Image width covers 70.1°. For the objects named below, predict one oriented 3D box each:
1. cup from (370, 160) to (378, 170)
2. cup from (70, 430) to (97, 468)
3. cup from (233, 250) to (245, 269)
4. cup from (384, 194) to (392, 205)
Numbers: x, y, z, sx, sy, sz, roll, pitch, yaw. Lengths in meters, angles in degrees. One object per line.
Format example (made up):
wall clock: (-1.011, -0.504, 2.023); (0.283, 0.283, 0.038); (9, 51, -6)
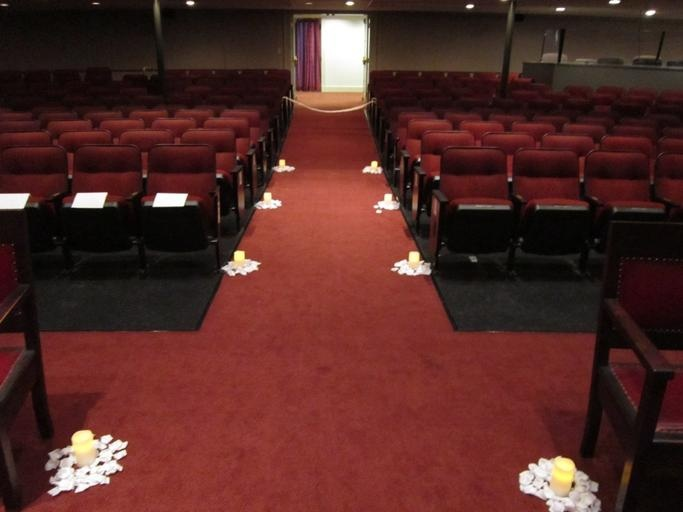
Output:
cup: (0.491, -1.296, 6.988); (0.122, 0.150, 0.125); (0, 19, 0)
cup: (-1.176, 0.891, 2.228); (0.098, 0.119, 0.100); (3, 22, -1)
cup: (-0.840, 0.011, 4.022); (0.092, 0.120, 0.164); (-2, 20, -12)
cup: (0.544, -0.653, 5.580); (0.101, 0.131, 0.108); (2, 3, 0)
